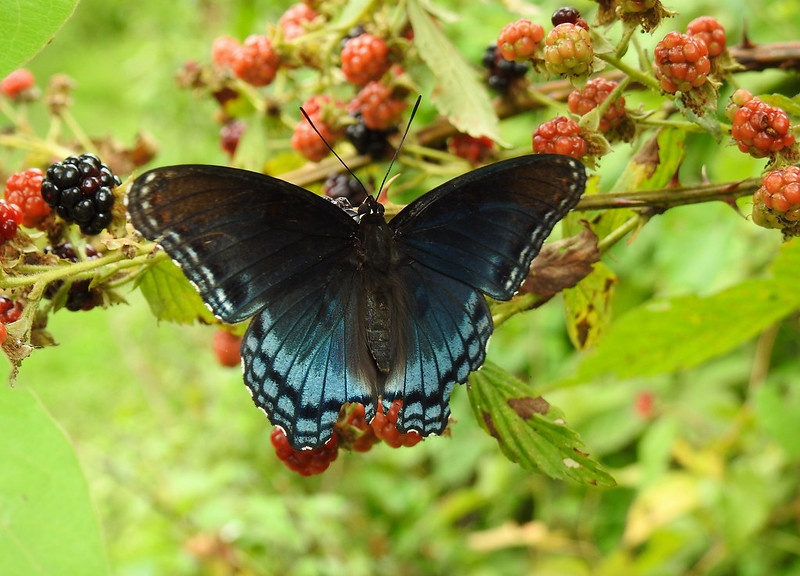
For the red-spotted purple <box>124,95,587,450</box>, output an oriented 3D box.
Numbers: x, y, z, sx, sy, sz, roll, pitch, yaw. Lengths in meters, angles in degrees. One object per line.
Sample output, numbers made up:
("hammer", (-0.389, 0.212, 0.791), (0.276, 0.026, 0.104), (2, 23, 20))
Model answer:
("red-spotted purple", (-0.027, -0.006, 1.780), (0.995, 0.670, 0.094), (-3, 12, -26))
